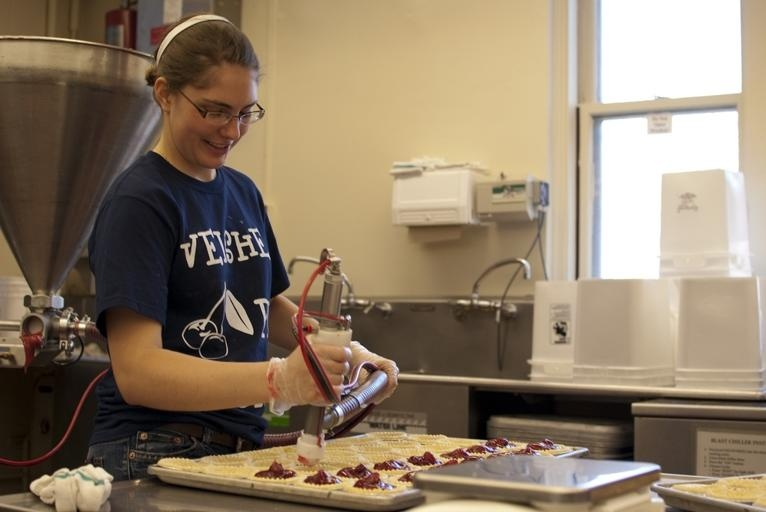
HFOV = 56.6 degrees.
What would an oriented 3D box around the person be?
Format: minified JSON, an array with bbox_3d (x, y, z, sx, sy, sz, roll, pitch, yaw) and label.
[{"bbox_3d":[-0.453,-0.035,1.956,0.650,1.008,0.704,1,0,-24],"label":"person"}]

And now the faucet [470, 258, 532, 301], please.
[{"bbox_3d":[0.692,0.131,4.138,0.354,0.239,0.261,1,0,9],"label":"faucet"}]

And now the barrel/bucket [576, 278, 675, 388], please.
[{"bbox_3d":[1.087,0.374,3.391,0.452,0.613,0.477,2,-8,0],"label":"barrel/bucket"}]
